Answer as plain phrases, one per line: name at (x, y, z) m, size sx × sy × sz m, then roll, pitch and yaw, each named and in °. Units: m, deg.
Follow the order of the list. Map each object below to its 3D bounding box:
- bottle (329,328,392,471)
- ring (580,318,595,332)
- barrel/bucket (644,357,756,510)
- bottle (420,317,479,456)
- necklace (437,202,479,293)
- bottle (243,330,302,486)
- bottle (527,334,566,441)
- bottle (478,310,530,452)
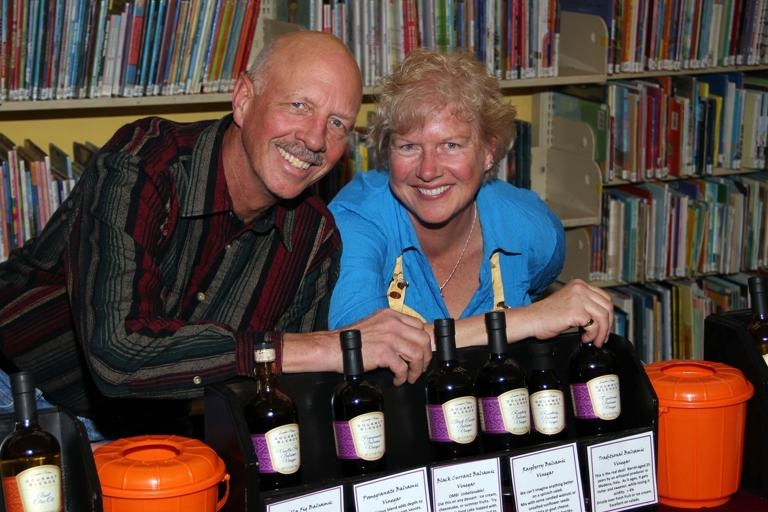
bottle at (-0.045, 0.305, 1.612) m, size 0.109 × 0.311 × 0.126 m, roll -2°, pitch 3°, yaw 33°
ring at (0.515, 0.179, 1.898) m, size 0.033 × 0.011 × 0.026 m, roll -33°, pitch -1°, yaw 14°
barrel/bucket at (0.719, 0.394, 1.830) m, size 0.304 × 0.320 × 0.281 m, roll 0°, pitch 3°, yaw 0°
bottle at (0.148, 0.286, 1.634) m, size 0.113 × 0.308 × 0.160 m, roll -3°, pitch 3°, yaw 4°
necklace at (0.229, -0.028, 2.575) m, size 0.036 × 0.356 × 0.099 m, roll 16°, pitch 4°, yaw -27°
bottle at (-0.237, 0.350, 1.585) m, size 0.112 × 0.207 × 0.167 m, roll -4°, pitch 3°, yaw -12°
bottle at (0.367, 0.302, 1.675) m, size 0.088 × 0.225 × 0.068 m, roll -4°, pitch 2°, yaw -12°
bottle at (0.257, 0.274, 1.654) m, size 0.122 × 0.306 × 0.136 m, roll -3°, pitch 3°, yaw 13°
